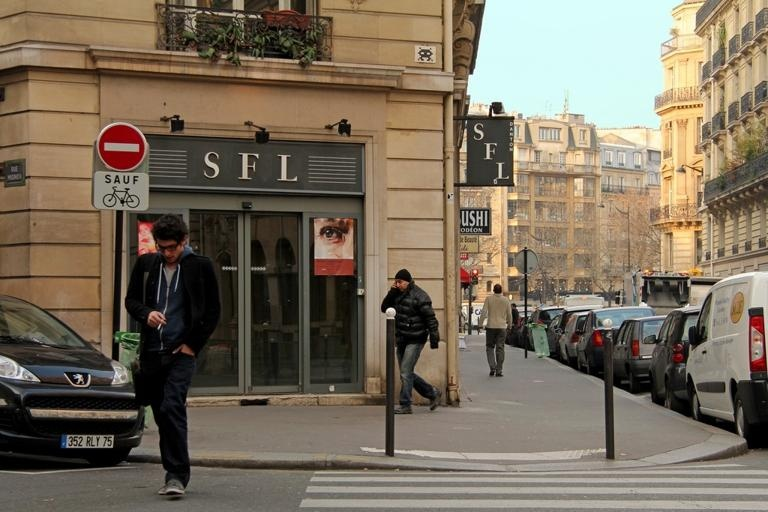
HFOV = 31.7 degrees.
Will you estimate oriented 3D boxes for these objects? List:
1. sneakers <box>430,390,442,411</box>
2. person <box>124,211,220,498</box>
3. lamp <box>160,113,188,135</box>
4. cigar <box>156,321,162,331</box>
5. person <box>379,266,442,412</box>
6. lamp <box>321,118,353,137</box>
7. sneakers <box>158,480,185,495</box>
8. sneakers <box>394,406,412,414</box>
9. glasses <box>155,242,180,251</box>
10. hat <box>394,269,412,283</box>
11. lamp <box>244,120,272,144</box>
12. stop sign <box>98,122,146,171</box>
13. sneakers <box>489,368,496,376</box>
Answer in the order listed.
[{"bbox_3d":[0.869,2.565,23.720,0.143,0.416,0.185,4,-20,37],"label":"sneakers"},{"bbox_3d":[-2.771,1.291,17.615,1.165,3.669,0.410,0,-4,-7],"label":"person"},{"bbox_3d":[-3.694,-2.352,23.690,0.416,0.319,0.242,-2,1,4],"label":"lamp"},{"bbox_3d":[-2.917,0.912,17.595,0.080,0.096,0.118,0,-4,-14],"label":"cigar"},{"bbox_3d":[0.512,1.492,23.517,0.972,2.509,0.867,-2,-4,25],"label":"person"},{"bbox_3d":[-0.818,-2.340,24.272,0.463,0.297,0.265,-1,-2,29],"label":"lamp"},{"bbox_3d":[-2.780,3.023,17.504,0.360,0.214,0.227,-1,-4,3],"label":"sneakers"},{"bbox_3d":[0.338,2.685,23.334,0.342,0.158,0.153,3,-2,-4],"label":"sneakers"},{"bbox_3d":[-2.847,-0.127,17.673,0.303,0.106,0.144,-1,-4,5],"label":"glasses"},{"bbox_3d":[0.338,0.338,23.337,0.184,0.218,0.245,0,-14,37],"label":"hat"},{"bbox_3d":[-2.244,-2.232,23.996,0.439,0.441,0.314,-1,3,2],"label":"lamp"},{"bbox_3d":[-3.920,-1.620,20.109,0.937,1.029,0.107,-1,-1,-12],"label":"stop sign"},{"bbox_3d":[2.458,2.663,30.675,0.120,0.226,0.169,0,2,35],"label":"sneakers"}]
